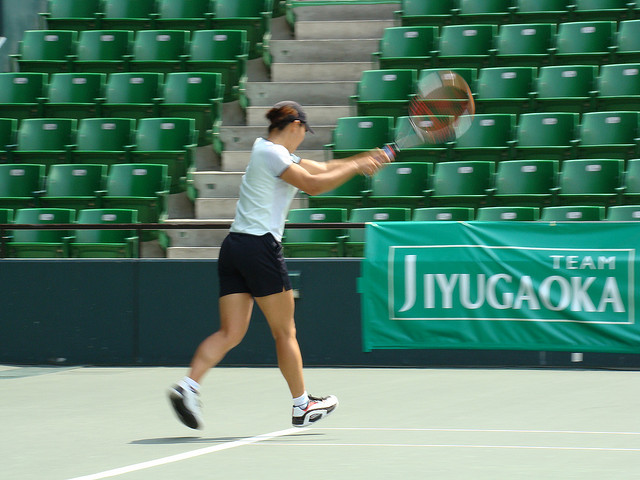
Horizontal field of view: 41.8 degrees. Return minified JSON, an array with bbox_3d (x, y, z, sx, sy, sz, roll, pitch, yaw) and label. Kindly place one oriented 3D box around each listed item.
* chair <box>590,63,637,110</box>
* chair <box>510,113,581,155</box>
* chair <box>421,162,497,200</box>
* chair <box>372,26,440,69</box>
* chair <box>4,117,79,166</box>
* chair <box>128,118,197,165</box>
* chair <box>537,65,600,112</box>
[{"bbox_3d":[4.446,-2.327,12.825,0.680,0.716,0.453,-1,8,15],"label":"chair"},{"bbox_3d":[3.582,-1.543,12.357,0.811,0.583,1.311,-5,9,-35],"label":"chair"},{"bbox_3d":[1.671,-0.835,11.869,1.364,0.483,0.875,-4,4,-35],"label":"chair"},{"bbox_3d":[1.436,-3.267,14.230,1.136,0.768,0.871,2,16,12],"label":"chair"},{"bbox_3d":[-4.259,-1.472,12.864,1.525,0.573,0.622,1,-6,5],"label":"chair"},{"bbox_3d":[-2.365,-1.466,12.514,0.966,0.512,0.573,3,24,6],"label":"chair"},{"bbox_3d":[3.813,-2.304,12.946,1.337,0.631,0.481,0,-23,7],"label":"chair"}]
